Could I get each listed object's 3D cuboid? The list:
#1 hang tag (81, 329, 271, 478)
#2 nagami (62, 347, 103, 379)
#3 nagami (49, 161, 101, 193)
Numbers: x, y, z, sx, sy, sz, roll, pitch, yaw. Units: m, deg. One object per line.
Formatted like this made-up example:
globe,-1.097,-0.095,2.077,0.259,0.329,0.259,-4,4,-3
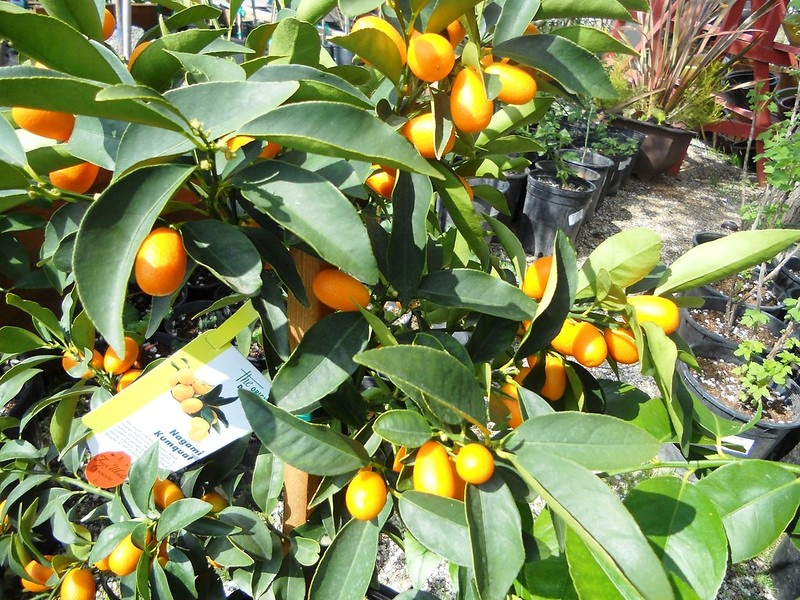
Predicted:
hang tag,-0.518,0.157,1.403,0.418,0.292,0.319,-10,27,-24
nagami,-0.766,0.141,1.462,0.081,0.094,0.080,0,12,-2
nagami,-0.599,-0.227,1.122,0.066,0.056,0.056,-50,40,16
